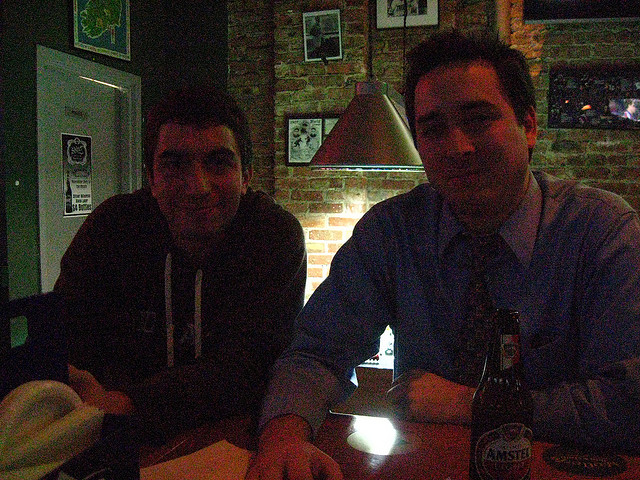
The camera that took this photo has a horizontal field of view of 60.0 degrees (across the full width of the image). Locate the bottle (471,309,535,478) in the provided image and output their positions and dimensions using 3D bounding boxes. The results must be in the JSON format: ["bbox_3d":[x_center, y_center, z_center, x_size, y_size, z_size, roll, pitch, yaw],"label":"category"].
[{"bbox_3d":[0.371,0.299,1.121,0.118,0.331,0.233,0,3,21],"label":"bottle"}]

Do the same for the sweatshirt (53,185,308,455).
[{"bbox_3d":[-0.343,0.139,1.639,0.629,0.595,0.702,-3,3,-41],"label":"sweatshirt"}]
